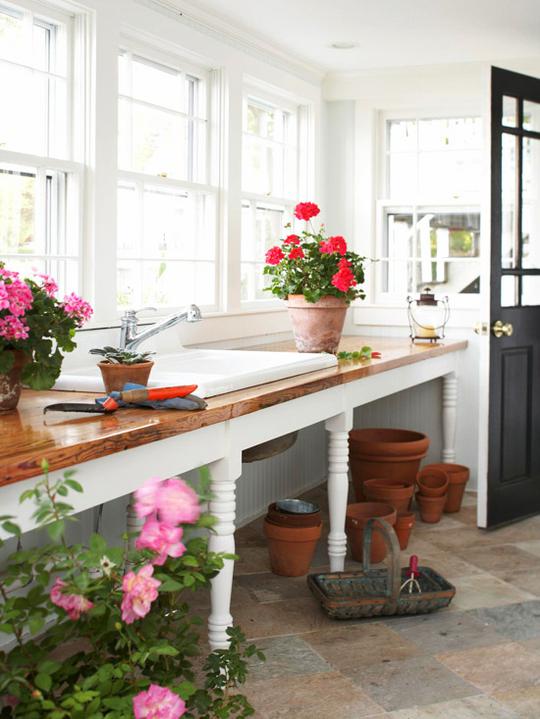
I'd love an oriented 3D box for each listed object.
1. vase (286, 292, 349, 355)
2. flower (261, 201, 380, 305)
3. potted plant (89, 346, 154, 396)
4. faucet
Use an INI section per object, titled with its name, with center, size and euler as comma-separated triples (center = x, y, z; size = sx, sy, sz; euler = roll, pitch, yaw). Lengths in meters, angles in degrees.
[vase]
center = 0.226, -0.167, 2.780
size = 0.307, 0.286, 0.299
euler = -5, 8, -34
[flower]
center = 0.270, -0.496, 2.753
size = 0.488, 0.500, 0.343
euler = -19, 6, -34
[potted plant]
center = -0.391, 0.029, 1.598
size = 0.140, 0.088, 0.134
euler = 2, -2, -23
[faucet]
center = -0.360, -0.096, 1.941
size = 0.224, 0.158, 0.749
euler = 0, 1, -13
